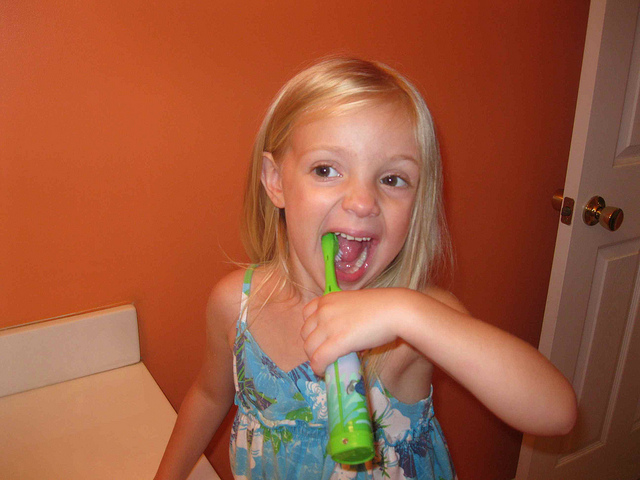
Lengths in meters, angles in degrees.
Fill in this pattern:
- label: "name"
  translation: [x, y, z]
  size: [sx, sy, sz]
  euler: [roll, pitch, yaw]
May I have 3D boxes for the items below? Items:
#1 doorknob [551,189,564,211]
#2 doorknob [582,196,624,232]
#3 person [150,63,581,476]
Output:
- label: "doorknob"
  translation: [0.726, -0.122, 1.678]
  size: [0.031, 0.062, 0.136]
  euler: [-4, 3, 24]
- label: "doorknob"
  translation: [0.802, -0.075, 1.582]
  size: [0.084, 0.104, 0.091]
  euler: [2, 18, 0]
- label: "person"
  translation: [0.034, 0.090, 1.156]
  size: [0.890, 0.603, 0.521]
  euler: [-5, 3, 27]
